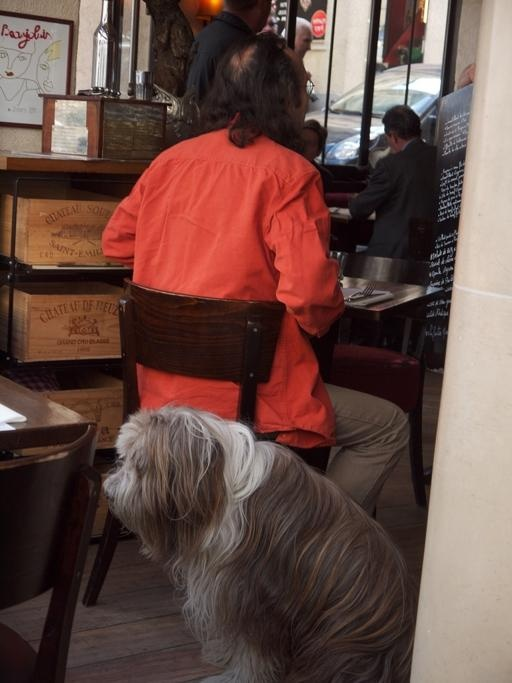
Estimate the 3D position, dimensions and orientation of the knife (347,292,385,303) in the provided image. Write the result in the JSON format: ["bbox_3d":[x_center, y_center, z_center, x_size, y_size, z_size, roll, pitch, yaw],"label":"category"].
[{"bbox_3d":[0.449,-0.179,2.226,0.141,0.020,0.020,-13,-16,23],"label":"knife"}]

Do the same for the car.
[{"bbox_3d":[1.853,-3.530,8.435,1.389,1.166,2.375,11,20,39],"label":"car"}]

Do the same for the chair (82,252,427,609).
[{"bbox_3d":[0.187,0.138,3.197,1.420,1.939,1.558,-12,19,-39],"label":"chair"}]
